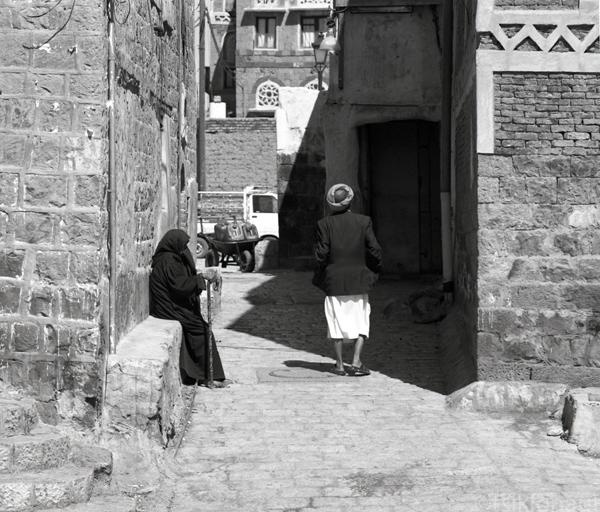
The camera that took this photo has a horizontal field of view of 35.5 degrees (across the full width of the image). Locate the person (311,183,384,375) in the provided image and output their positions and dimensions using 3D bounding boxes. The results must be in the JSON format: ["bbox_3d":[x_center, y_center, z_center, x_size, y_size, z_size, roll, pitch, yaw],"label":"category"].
[{"bbox_3d":[0.443,0.235,8.957,0.644,1.800,0.346,-1,6,0],"label":"person"}]

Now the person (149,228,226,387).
[{"bbox_3d":[-1.092,0.476,8.353,0.514,1.407,0.406,-2,7,-11],"label":"person"}]

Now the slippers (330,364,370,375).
[{"bbox_3d":[0.481,1.109,8.971,0.353,0.133,0.134,0,-4,1],"label":"slippers"}]

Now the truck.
[{"bbox_3d":[-2.413,-1.121,30.096,3.330,2.243,1.958,0,2,4],"label":"truck"}]

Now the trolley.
[{"bbox_3d":[-1.631,-0.171,20.959,0.906,1.163,2.032,-1,5,-37],"label":"trolley"}]
